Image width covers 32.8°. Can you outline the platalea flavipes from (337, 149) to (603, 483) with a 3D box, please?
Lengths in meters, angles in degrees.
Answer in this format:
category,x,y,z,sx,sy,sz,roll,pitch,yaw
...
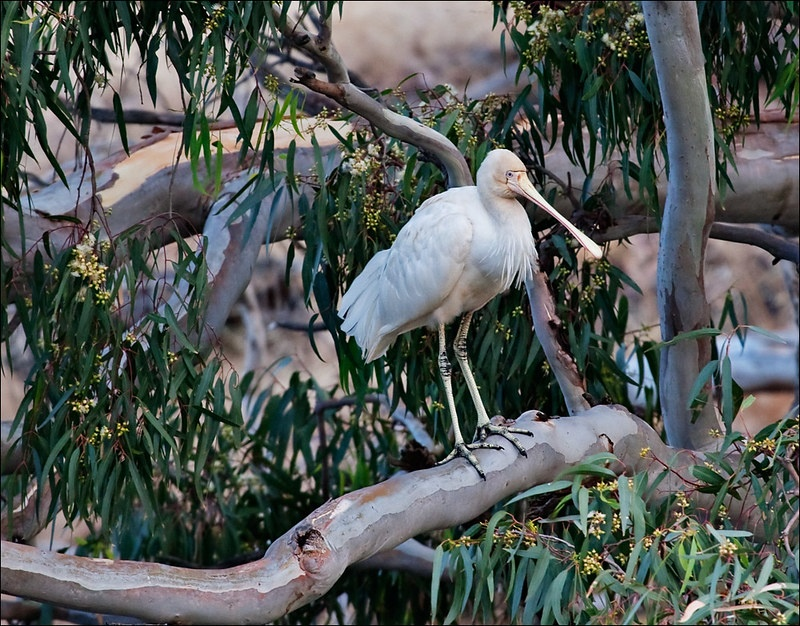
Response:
category,x,y,z,sx,sy,sz,roll,pitch,yaw
platalea flavipes,0.206,-0.018,5.065,0.829,1.068,0.546,-10,9,-6
